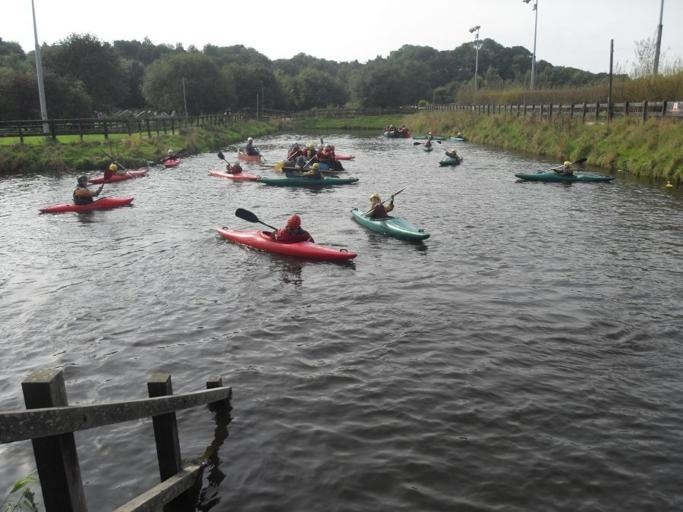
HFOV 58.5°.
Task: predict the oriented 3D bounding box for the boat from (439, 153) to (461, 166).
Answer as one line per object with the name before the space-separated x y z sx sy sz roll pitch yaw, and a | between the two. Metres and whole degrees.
boat | 6.236 -5.407 34.088 0.644 0.573 1.621 6 21 23

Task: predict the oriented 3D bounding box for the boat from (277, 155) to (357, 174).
boat | -1.003 -4.164 29.641 4.043 0.963 1.215 -8 15 -28

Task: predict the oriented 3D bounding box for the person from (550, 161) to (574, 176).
person | 9.856 -3.843 26.852 0.787 0.534 1.012 9 17 33

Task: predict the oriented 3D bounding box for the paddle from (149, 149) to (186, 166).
paddle | -10.146 -5.648 35.320 0.993 0.417 2.148 8 26 -8

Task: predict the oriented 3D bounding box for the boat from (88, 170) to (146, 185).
boat | -10.163 -3.536 27.817 0.769 0.416 3.196 1 15 32

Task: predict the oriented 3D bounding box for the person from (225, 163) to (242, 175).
person | -5.207 -4.180 29.586 0.710 0.399 0.941 -8 11 -31

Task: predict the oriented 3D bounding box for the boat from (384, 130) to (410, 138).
boat | 5.110 -11.229 56.880 0.983 0.409 1.669 -1 4 -42

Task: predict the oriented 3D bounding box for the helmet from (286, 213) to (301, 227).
helmet | -1.192 -0.929 16.312 0.467 0.425 0.379 -5 13 -12

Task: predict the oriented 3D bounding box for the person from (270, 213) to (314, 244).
person | -1.302 -0.695 16.197 1.175 0.676 0.403 7 16 27

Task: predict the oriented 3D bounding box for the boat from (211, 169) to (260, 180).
boat | -5.093 -3.781 29.256 4.107 0.565 0.953 6 9 41

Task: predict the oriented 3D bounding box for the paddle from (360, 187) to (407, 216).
paddle | 1.525 -1.895 21.773 1.707 0.733 0.632 -30 70 -24

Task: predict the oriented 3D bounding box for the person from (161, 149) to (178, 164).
person | -9.698 -5.562 34.738 0.864 0.385 1.637 -8 17 -12
